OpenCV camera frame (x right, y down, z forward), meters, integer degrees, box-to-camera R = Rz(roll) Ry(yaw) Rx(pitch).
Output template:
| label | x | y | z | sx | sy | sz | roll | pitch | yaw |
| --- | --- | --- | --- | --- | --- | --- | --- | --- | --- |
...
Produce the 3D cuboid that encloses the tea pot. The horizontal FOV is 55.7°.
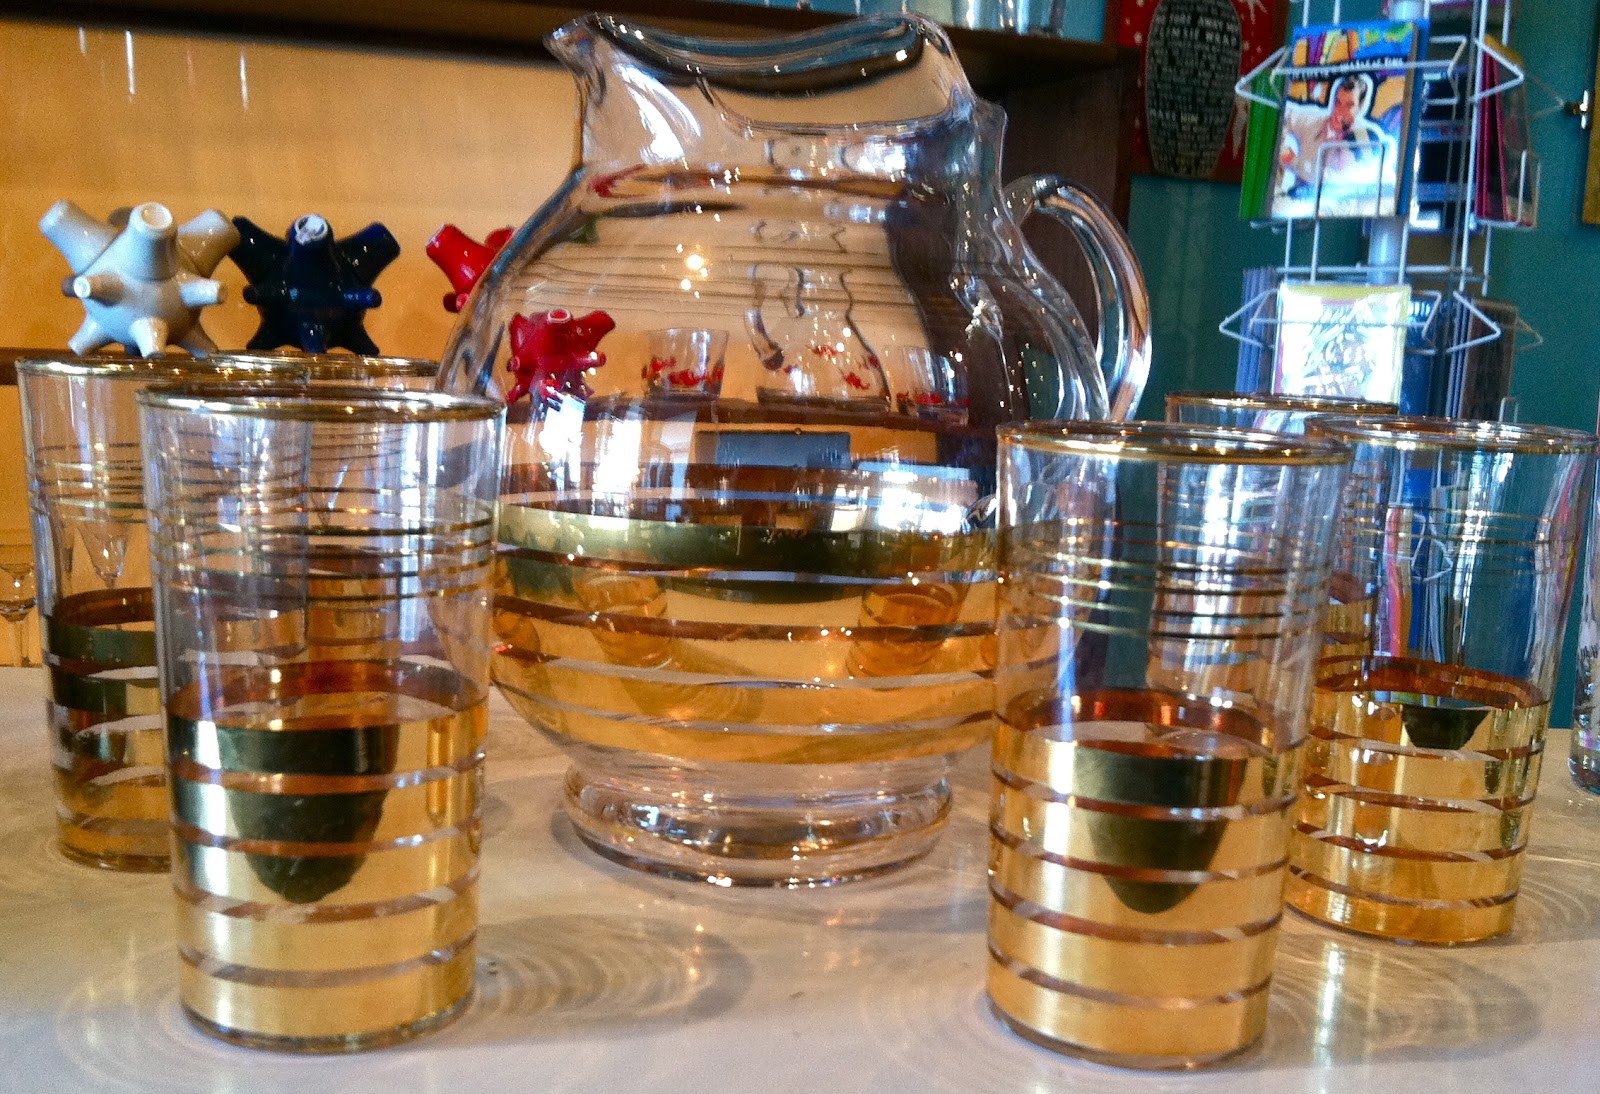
| label | x | y | z | sx | sy | sz | roll | pitch | yaw |
| --- | --- | --- | --- | --- | --- | --- | --- | --- | --- |
| tea pot | -0.005 | -0.052 | 0.756 | 0.383 | 0.330 | 0.288 | 0 | 3 | -34 |
